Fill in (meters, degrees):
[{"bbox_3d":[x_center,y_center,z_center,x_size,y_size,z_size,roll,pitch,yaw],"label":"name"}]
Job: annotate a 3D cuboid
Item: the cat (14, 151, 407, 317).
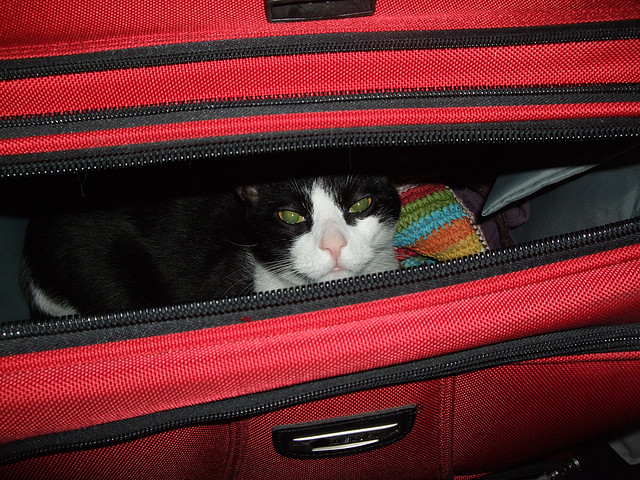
[{"bbox_3d":[-0.239,-0.010,1.213,0.771,0.367,0.142,-10,85,-6],"label":"cat"}]
